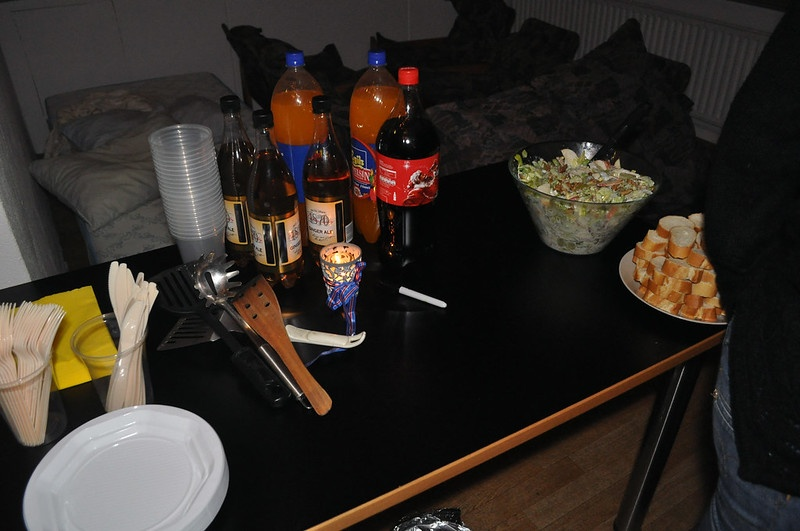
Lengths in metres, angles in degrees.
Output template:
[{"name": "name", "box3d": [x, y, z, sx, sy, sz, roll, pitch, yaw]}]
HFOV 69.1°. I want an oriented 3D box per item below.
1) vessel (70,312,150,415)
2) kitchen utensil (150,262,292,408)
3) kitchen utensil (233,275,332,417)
[{"name": "vessel", "box3d": [-0.571, 0.200, 1.150, 0.135, 0.155, 0.125, -13, 38, -14]}, {"name": "kitchen utensil", "box3d": [-0.416, 0.177, 1.336, 0.190, 0.059, 0.509, -30, 61, -22]}, {"name": "kitchen utensil", "box3d": [-0.258, 0.174, 1.254, 0.119, 0.007, 0.436, -24, 54, -19]}]
